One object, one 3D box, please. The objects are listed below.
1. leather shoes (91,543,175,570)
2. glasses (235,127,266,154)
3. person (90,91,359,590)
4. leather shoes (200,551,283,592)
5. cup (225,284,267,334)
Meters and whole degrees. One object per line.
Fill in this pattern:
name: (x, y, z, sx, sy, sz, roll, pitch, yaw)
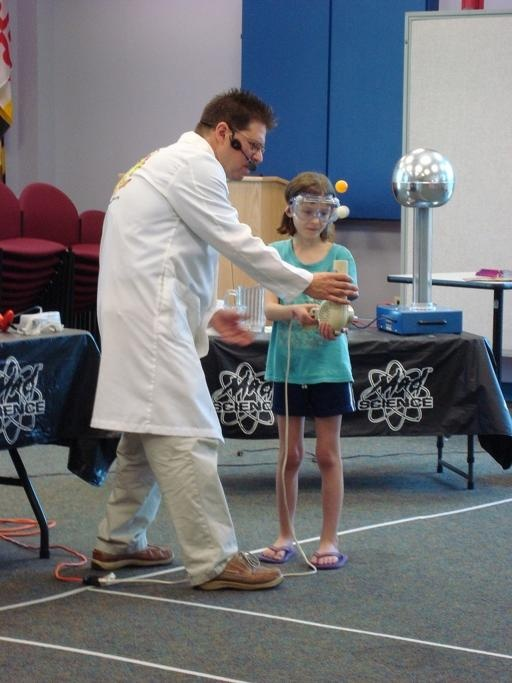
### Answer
leather shoes: (-0.358, 0.587, 1.936, 0.225, 0.090, 0.081, -2, 5, -26)
glasses: (-0.013, -0.497, 1.660, 0.057, 0.027, 0.073, 14, 7, -30)
person: (-0.113, -0.001, 1.696, 0.638, 1.203, 0.477, 1, 0, 42)
leather shoes: (-0.032, 0.585, 1.759, 0.232, 0.107, 0.086, -3, 0, -9)
cup: (-0.028, -0.124, 2.661, 0.221, 0.223, 0.136, -1, 5, -4)
